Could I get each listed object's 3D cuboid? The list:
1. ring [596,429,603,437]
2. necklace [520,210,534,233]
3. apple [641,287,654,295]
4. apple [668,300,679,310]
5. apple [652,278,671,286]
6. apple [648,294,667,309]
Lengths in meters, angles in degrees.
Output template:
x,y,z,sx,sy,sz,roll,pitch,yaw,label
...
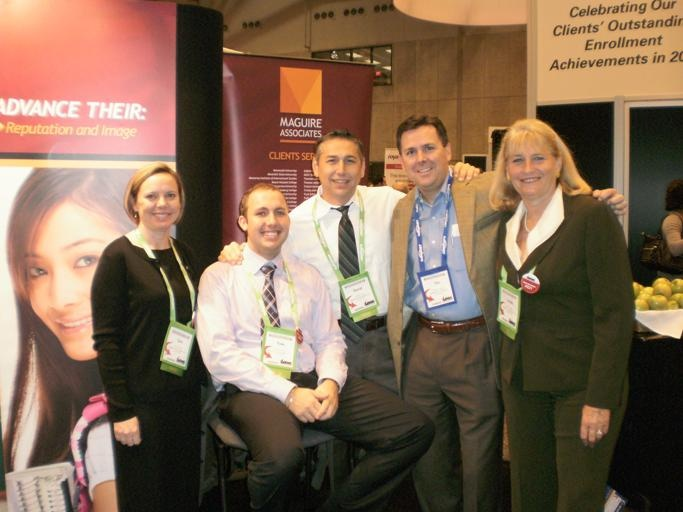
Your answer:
x,y,z,sx,sy,sz,roll,pitch,yaw,label
1.252,0.867,2.905,0.029,0.022,0.011,0,-4,8,ring
0.978,-0.180,3.162,0.021,0.095,0.068,-9,10,-3,necklace
1.847,0.211,3.611,0.047,0.029,0.049,-2,9,4,apple
1.940,0.293,3.501,0.047,0.050,0.028,-9,-25,8,apple
1.942,0.157,3.633,0.061,0.046,0.075,-9,11,6,apple
1.843,0.277,3.506,0.078,0.081,0.080,18,-39,-9,apple
